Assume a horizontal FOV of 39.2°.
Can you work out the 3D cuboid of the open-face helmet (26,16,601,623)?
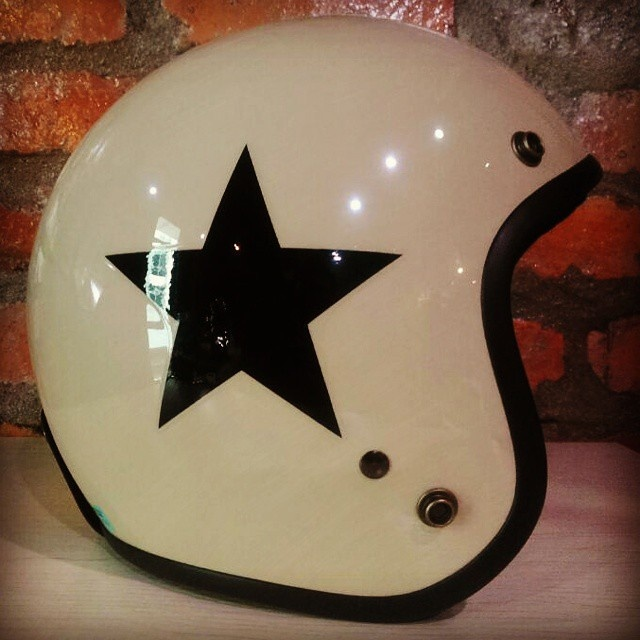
[{"bbox_3d":[0.005,-0.012,1.080,0.658,0.559,0.615,2,92,-9],"label":"open-face helmet"}]

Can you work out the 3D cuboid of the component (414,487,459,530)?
[{"bbox_3d":[0.111,0.175,0.842,0.040,0.010,0.036,-36,89,-3],"label":"component"}]

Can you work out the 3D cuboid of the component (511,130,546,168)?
[{"bbox_3d":[0.199,-0.165,0.858,0.032,0.010,0.034,-5,82,-36],"label":"component"}]
